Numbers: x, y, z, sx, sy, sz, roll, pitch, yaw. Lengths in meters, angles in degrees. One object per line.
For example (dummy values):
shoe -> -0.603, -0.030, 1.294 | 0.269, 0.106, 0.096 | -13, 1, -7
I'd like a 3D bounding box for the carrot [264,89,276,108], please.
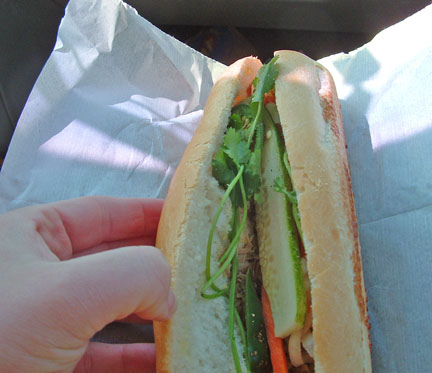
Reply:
carrot -> 0.307, -0.520, 2.958 | 0.047, 0.040, 0.087 | 1, 91, 26
